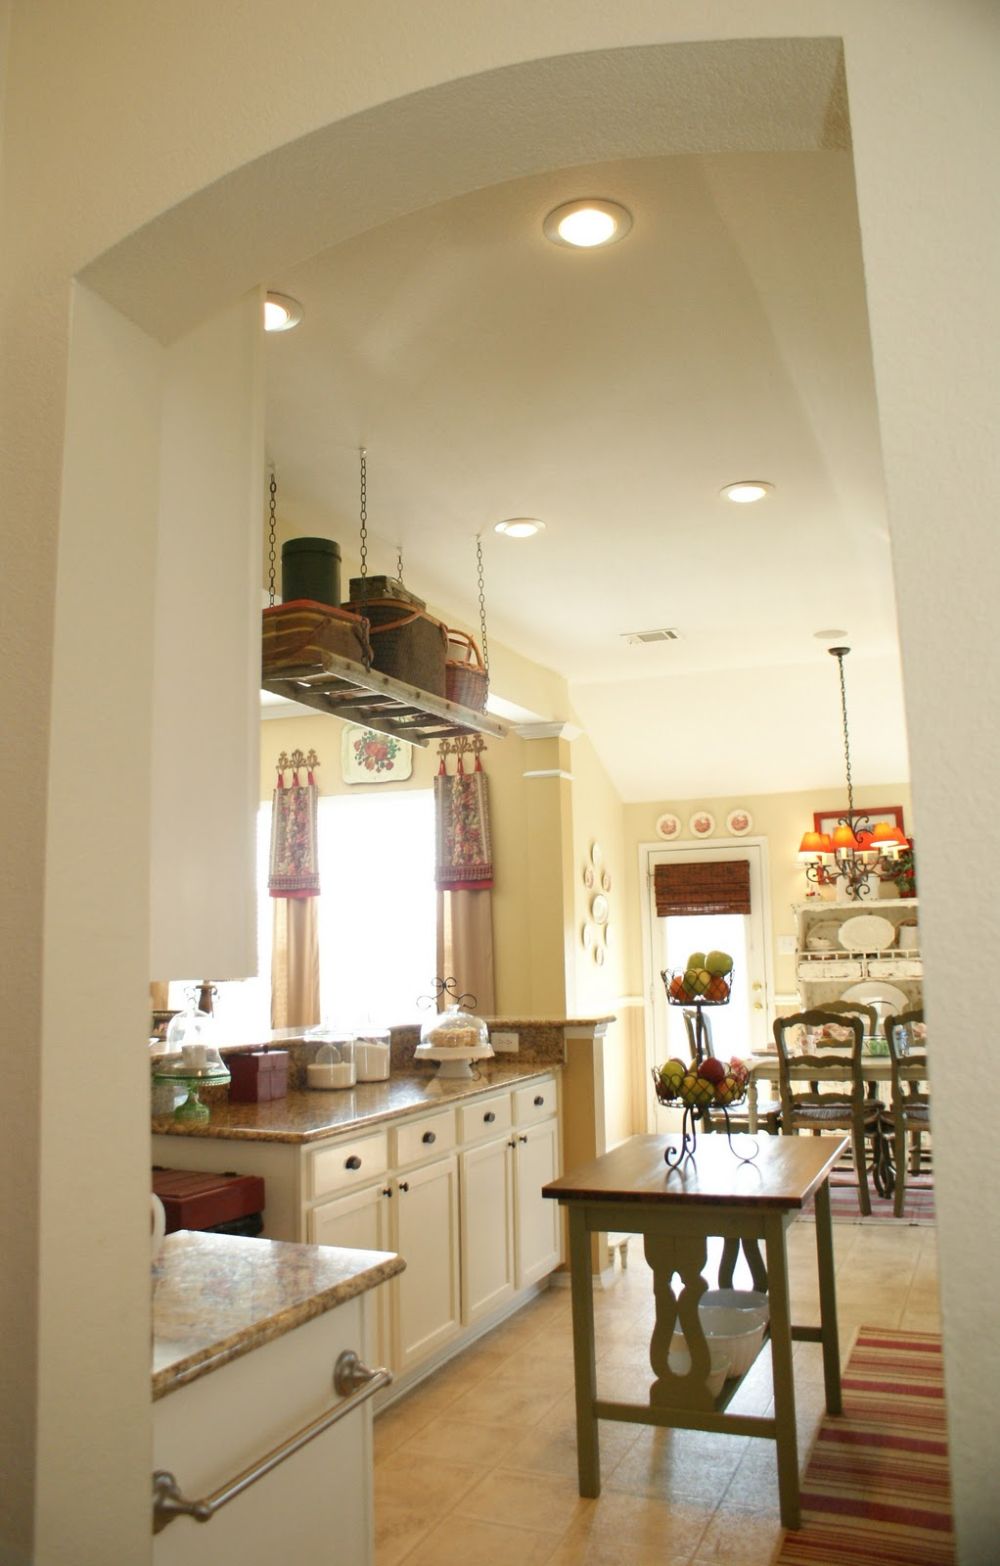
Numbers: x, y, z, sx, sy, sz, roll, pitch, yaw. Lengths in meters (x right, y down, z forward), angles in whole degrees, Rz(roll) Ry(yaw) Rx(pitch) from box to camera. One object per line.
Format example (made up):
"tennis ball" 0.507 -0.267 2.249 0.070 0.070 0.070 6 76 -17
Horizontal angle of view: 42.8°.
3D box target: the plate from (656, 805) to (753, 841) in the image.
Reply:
"plate" 1.323 0.265 8.281 0.635 0.198 0.033 -5 -8 23

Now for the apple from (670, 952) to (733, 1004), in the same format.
"apple" 0.498 0.489 3.216 0.128 0.088 0.155 0 -13 -2

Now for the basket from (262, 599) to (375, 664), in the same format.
"basket" -0.443 -0.362 3.113 0.143 0.093 0.206 -1 1 29

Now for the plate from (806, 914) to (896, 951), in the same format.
"plate" 2.122 0.919 7.777 0.562 0.252 0.180 -4 -8 15

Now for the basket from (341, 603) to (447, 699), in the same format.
"basket" -0.285 -0.356 3.475 0.204 0.213 0.315 -4 -7 29

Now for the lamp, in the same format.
"lamp" 1.990 0.019 7.334 0.634 1.290 1.391 -4 -8 16

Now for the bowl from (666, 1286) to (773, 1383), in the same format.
"bowl" 0.533 1.320 3.084 0.242 0.142 0.244 -1 -4 0

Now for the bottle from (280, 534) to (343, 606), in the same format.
"bottle" -0.487 -0.532 3.283 0.185 0.201 0.185 0 1 -21
